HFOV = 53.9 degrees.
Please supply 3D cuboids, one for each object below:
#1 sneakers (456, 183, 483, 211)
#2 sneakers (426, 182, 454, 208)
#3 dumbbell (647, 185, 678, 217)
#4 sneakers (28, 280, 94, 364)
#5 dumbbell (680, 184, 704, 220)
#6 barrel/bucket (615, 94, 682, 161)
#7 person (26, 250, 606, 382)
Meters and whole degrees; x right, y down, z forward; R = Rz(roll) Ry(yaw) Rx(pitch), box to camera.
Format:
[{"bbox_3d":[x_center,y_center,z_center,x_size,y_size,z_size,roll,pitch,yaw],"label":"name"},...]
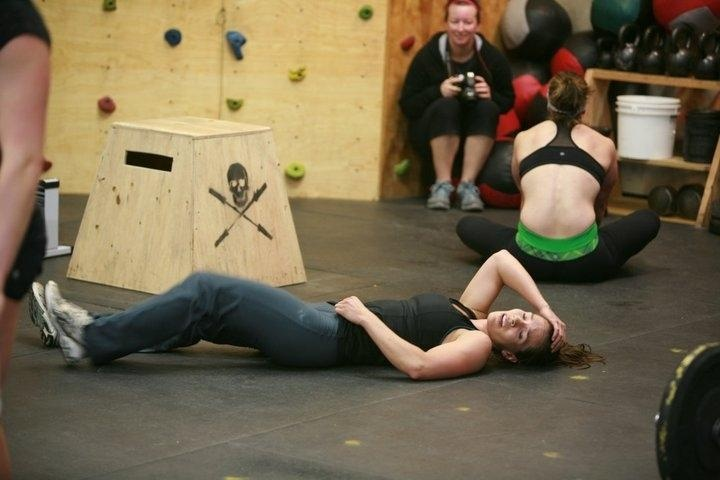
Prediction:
[{"bbox_3d":[0.934,-0.362,6.008,0.145,0.126,0.312,-6,14,-12],"label":"sneakers"},{"bbox_3d":[0.694,-0.380,6.079,0.210,0.226,0.219,2,10,9],"label":"sneakers"},{"bbox_3d":[2.627,-0.336,6.252,0.288,0.259,0.278,11,11,27],"label":"dumbbell"},{"bbox_3d":[-1.294,0.368,3.044,0.141,0.400,0.189,-36,-3,-11],"label":"sneakers"},{"bbox_3d":[2.806,-0.324,5.977,0.146,0.291,0.289,-2,10,-16],"label":"dumbbell"},{"bbox_3d":[2.407,-0.987,6.183,0.601,0.475,0.571,1,12,0],"label":"barrel/bucket"},{"bbox_3d":[-0.140,0.390,3.167,2.603,0.516,0.805,3,-1,-4],"label":"person"}]
